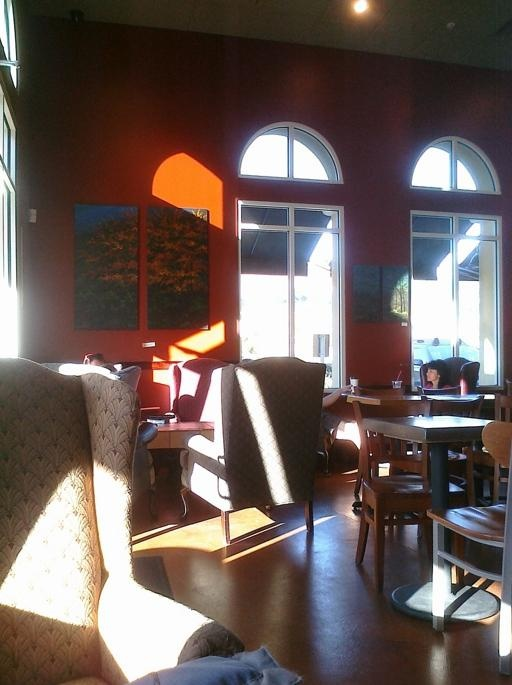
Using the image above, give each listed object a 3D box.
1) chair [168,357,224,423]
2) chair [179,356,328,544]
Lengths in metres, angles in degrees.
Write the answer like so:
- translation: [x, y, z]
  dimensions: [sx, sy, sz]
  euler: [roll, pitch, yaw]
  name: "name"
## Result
- translation: [-0.618, 0.491, 5.859]
  dimensions: [0.523, 0.757, 0.533]
  euler: [6, -9, -39]
  name: "chair"
- translation: [-0.042, 0.604, 3.744]
  dimensions: [0.755, 1.102, 0.888]
  euler: [1, 4, -7]
  name: "chair"
